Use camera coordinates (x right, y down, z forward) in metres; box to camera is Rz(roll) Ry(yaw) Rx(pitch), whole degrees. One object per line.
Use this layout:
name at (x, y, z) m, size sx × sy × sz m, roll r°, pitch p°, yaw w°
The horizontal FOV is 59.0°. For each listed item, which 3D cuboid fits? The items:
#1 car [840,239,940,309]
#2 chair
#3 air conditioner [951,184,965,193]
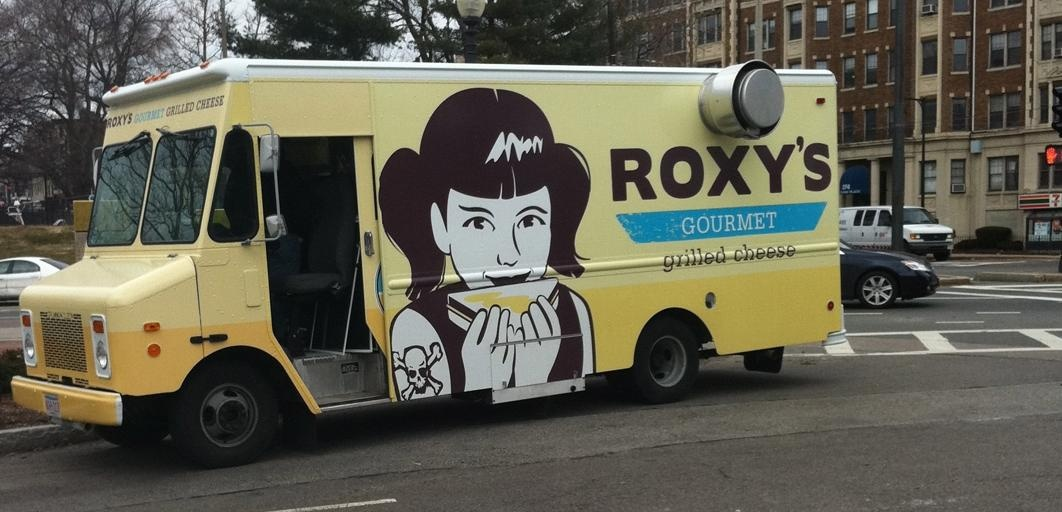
car at (11.462, 0.630, 30.783) m, size 3.934 × 1.336 × 1.846 m, roll -2°, pitch 4°, yaw 5°
chair at (-4.885, 0.045, 20.807) m, size 2.503 × 3.527 × 2.526 m, roll 2°, pitch 8°, yaw 10°
air conditioner at (29.361, -4.615, 64.618) m, size 0.951 × 0.618 × 0.515 m, roll 0°, pitch -1°, yaw 17°
